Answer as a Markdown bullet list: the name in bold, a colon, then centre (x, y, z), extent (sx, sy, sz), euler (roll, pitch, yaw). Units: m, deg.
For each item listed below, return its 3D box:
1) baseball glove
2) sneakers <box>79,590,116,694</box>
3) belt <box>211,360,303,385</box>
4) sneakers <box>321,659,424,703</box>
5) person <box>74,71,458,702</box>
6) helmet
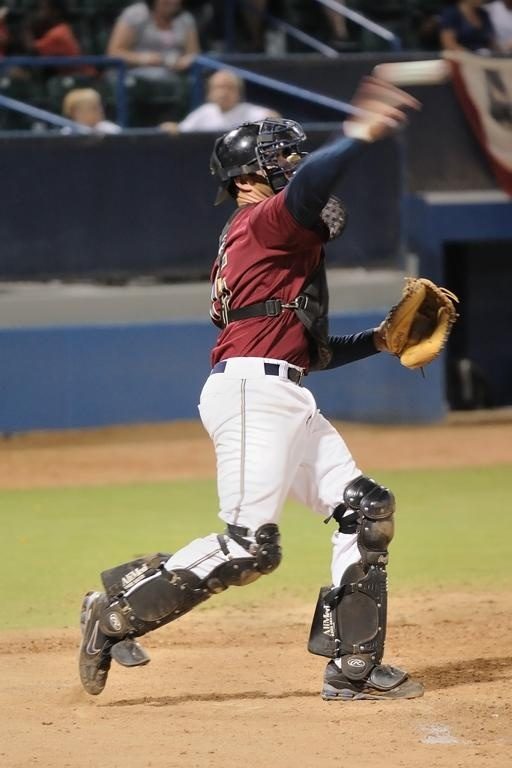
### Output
- **baseball glove**: centre (0.485, -0.170, 3.329), extent (0.269, 0.279, 0.106), euler (29, 5, -21)
- **sneakers**: centre (-0.454, 0.729, 3.178), extent (0.148, 0.278, 0.105), euler (2, 7, 6)
- **belt**: centre (0.007, -0.034, 3.152), extent (0.267, 0.071, 0.206), euler (1, 7, -1)
- **sneakers**: centre (0.330, 0.856, 3.231), extent (0.308, 0.105, 0.107), euler (-2, 1, -1)
- **person**: centre (0.042, 0.056, 3.216), extent (1.000, 1.805, 0.747), euler (3, 9, 11)
- **helmet**: centre (-0.010, -0.663, 3.263), extent (0.298, 0.211, 0.208), euler (-11, 24, 10)
